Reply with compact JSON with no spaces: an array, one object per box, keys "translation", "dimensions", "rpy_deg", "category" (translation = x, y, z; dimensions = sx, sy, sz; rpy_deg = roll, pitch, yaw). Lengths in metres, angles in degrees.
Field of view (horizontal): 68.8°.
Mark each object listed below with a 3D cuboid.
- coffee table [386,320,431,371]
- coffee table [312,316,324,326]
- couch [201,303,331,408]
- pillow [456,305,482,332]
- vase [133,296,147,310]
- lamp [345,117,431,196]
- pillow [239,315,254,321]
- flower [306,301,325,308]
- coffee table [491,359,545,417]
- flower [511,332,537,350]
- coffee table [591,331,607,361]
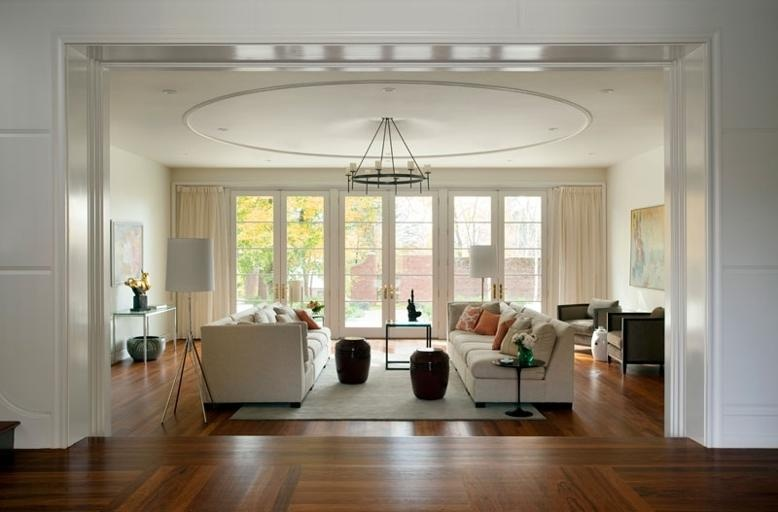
[{"translation":[0.331,1.381,9.110],"dimensions":[0.770,0.659,0.670],"rpy_deg":[1,1,-2],"category":"coffee table"},{"translation":[-1.302,1.192,10.565],"dimensions":[0.244,0.213,0.235],"rpy_deg":[-1,-5,-2],"category":"coffee table"},{"translation":[-1.615,1.248,7.416],"dimensions":[1.242,1.068,1.621],"rpy_deg":[0,7,-1],"category":"couch"},{"translation":[1.287,1.016,9.177],"dimensions":[0.132,0.371,0.407],"rpy_deg":[29,-6,-25],"category":"pillow"},{"translation":[-3.964,0.737,9.125],"dimensions":[0.228,0.200,0.221],"rpy_deg":[2,4,11],"category":"vase"},{"translation":[-0.047,-1.570,9.285],"dimensions":[1.135,1.250,1.121],"rpy_deg":[2,5,27],"category":"lamp"},{"translation":[-1.962,0.840,7.860],"dimensions":[0.116,0.078,0.112],"rpy_deg":[-1,3,-2],"category":"pillow"},{"translation":[-1.390,0.897,10.712],"dimensions":[0.283,0.115,0.190],"rpy_deg":[1,-1,40],"category":"flower"},{"translation":[1.474,1.514,6.730],"dimensions":[0.651,0.598,0.629],"rpy_deg":[0,-4,8],"category":"coffee table"},{"translation":[1.581,0.977,6.592],"dimensions":[0.232,0.201,0.224],"rpy_deg":[7,-3,-34],"category":"flower"},{"translation":[3.374,1.430,9.144],"dimensions":[0.221,0.481,0.368],"rpy_deg":[1,7,12],"category":"coffee table"}]
